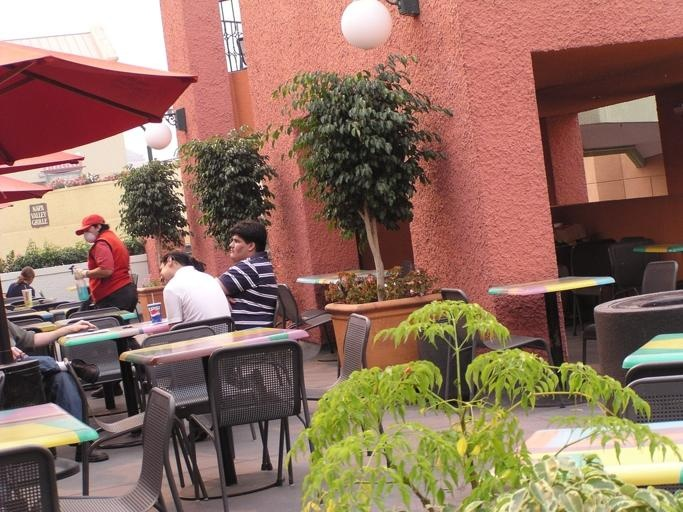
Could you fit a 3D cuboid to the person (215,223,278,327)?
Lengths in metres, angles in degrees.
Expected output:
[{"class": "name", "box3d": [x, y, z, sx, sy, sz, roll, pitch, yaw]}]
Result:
[{"class": "person", "box3d": [-0.895, 0.258, 5.859, 0.567, 1.092, 0.574, 1, 6, 15]}]

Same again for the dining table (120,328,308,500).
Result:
[{"class": "dining table", "box3d": [-0.792, 1.017, 3.898, 1.176, 1.098, 0.845, -10, 10, -29]}]

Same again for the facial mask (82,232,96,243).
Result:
[{"class": "facial mask", "box3d": [-3.361, -0.253, 8.179, 0.156, 0.118, 0.153, -3, 1, 33]}]

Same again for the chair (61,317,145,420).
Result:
[{"class": "chair", "box3d": [-2.318, 1.056, 5.872, 0.892, 1.189, 0.851, 0, -5, -26]}]

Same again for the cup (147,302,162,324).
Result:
[{"class": "cup", "box3d": [-1.692, 0.517, 5.557, 0.171, 0.182, 0.162, -2, -12, -1]}]

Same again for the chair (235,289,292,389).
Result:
[{"class": "chair", "box3d": [-0.582, 0.573, 4.375, 0.418, 0.583, 0.459, 1, -15, -13]}]

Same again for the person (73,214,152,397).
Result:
[{"class": "person", "box3d": [-3.100, 0.498, 8.107, 0.833, 2.068, 0.781, -1, -2, -41]}]
